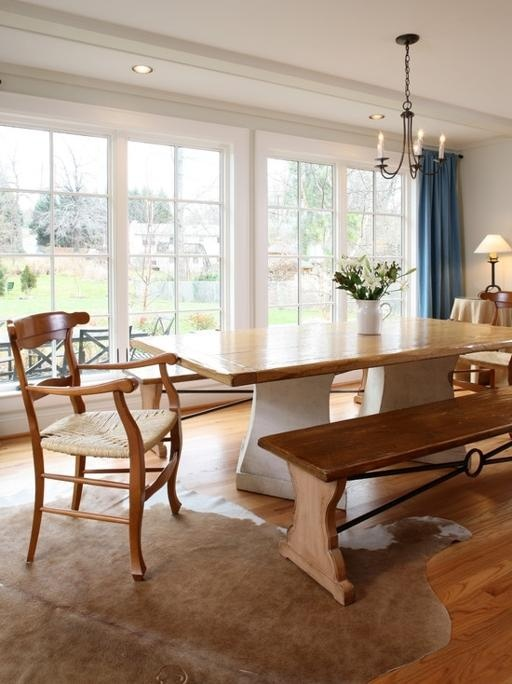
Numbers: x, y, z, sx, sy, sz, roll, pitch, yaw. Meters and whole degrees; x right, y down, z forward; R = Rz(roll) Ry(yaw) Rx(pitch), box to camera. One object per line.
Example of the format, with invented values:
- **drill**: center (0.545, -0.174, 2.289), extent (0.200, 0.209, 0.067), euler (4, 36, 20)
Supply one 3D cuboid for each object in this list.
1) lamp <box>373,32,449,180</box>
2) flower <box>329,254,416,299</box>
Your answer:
- **lamp**: center (0.907, -1.393, 3.116), extent (0.445, 0.734, 0.402), euler (2, 13, 28)
- **flower**: center (0.563, -0.308, 2.567), extent (0.302, 0.216, 0.352), euler (3, 6, 24)
